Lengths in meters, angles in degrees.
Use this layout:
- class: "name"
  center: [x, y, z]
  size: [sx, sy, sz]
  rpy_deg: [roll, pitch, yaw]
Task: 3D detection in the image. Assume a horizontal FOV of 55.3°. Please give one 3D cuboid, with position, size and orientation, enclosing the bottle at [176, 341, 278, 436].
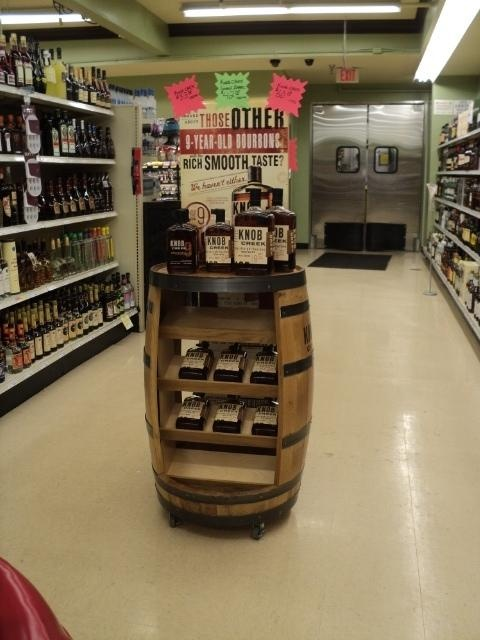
- class: "bottle"
  center: [-0.061, 0.308, 2.070]
  size: [0.393, 0.108, 0.379]
  rpy_deg: [-4, 62, 8]

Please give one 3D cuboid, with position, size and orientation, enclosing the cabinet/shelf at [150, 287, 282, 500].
- class: "cabinet/shelf"
  center: [-0.084, 0.312, 2.152]
  size: [0.665, 1.012, 0.692]
  rpy_deg: [-2, -2, -2]
